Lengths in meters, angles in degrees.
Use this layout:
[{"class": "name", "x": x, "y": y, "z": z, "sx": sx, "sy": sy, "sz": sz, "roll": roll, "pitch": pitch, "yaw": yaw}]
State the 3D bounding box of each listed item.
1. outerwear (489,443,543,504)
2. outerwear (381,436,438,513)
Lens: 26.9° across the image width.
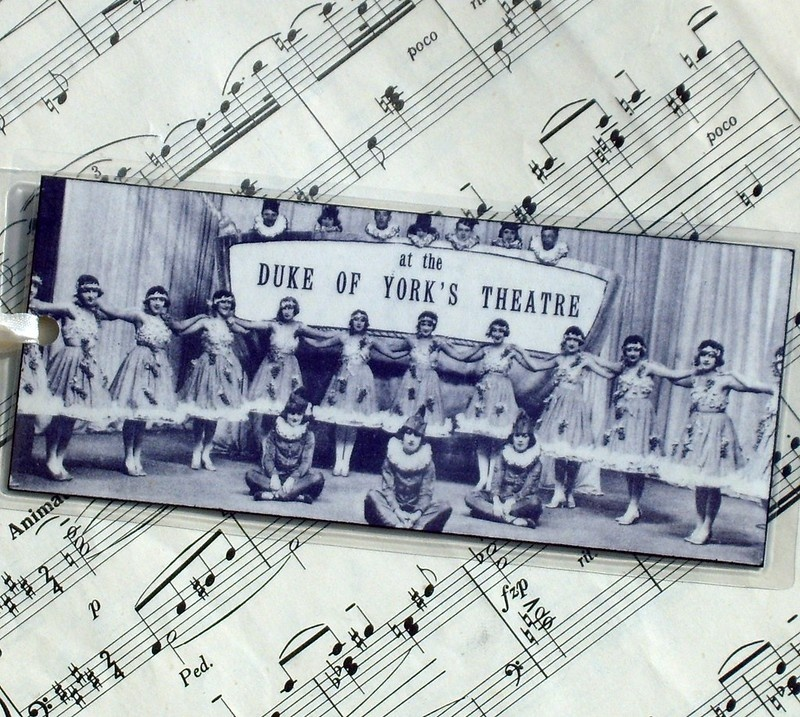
[{"class": "outerwear", "x": 0.363, "y": 0.356, "z": 5.196, "sx": 0.128, "sy": 0.109, "sz": 0.187, "roll": 8, "pitch": -79, "yaw": 10}, {"class": "outerwear", "x": 0.020, "y": 0.377, "z": 5.199, "sx": 0.190, "sy": 0.290, "sz": 0.200, "roll": 0, "pitch": -15, "yaw": -2}]
